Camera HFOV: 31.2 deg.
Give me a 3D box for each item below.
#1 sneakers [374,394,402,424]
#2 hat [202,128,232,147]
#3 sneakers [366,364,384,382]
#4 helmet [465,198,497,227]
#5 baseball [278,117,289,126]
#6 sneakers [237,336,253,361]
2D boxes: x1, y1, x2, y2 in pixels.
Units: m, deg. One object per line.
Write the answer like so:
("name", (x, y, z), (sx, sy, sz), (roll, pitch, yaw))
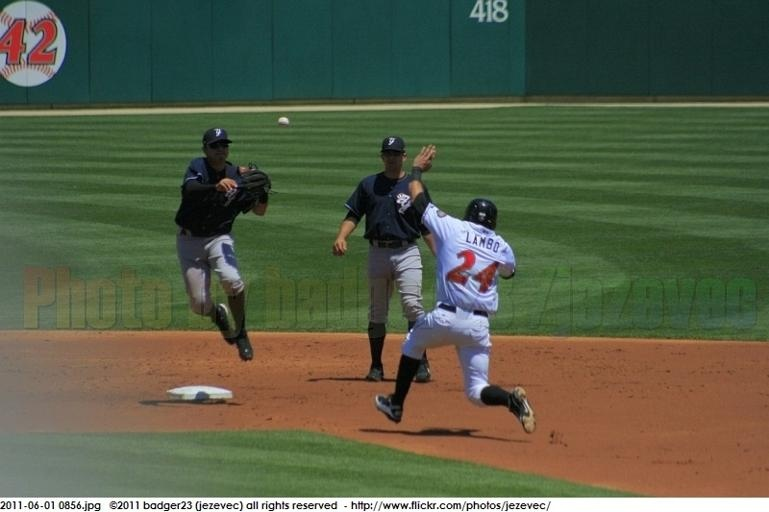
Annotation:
("sneakers", (0.070, 2.284, 21.131), (0.249, 0.250, 0.574), (-2, 27, -37))
("hat", (-2.725, -1.897, 22.114), (0.385, 0.312, 0.415), (1, 1, -5))
("sneakers", (-0.180, 1.881, 22.582), (0.285, 0.202, 0.550), (0, -2, 4))
("helmet", (1.476, -0.679, 21.114), (0.386, 0.428, 0.475), (11, 3, 3))
("baseball", (-2.706, -3.506, 35.977), (0.269, 0.238, 0.265), (8, 14, 9))
("sneakers", (-2.300, 1.466, 22.285), (0.252, 0.407, 0.153), (-9, -13, -19))
